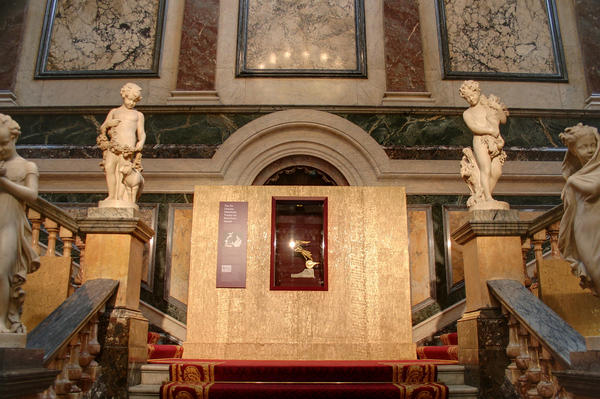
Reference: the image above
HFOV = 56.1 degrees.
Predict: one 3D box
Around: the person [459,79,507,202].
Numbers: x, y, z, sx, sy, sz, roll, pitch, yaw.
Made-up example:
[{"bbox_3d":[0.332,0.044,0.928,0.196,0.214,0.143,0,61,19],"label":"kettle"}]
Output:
[{"bbox_3d":[1.995,-0.661,6.117,0.544,1.394,0.372,-4,-22,10],"label":"person"}]
